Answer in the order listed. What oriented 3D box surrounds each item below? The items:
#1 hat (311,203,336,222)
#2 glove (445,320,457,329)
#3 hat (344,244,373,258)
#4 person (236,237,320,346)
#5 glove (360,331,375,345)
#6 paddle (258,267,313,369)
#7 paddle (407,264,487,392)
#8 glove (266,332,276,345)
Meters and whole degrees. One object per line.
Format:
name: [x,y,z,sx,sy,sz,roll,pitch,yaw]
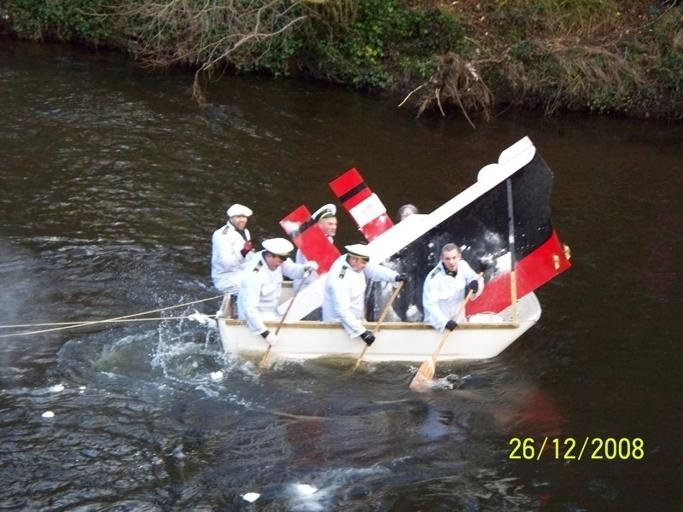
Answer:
hat: [-0.407,-0.971,20.635,0.184,0.491,0.449,61,11,12]
glove: [2.197,1.412,19.500,0.255,0.236,0.111,3,27,-11]
hat: [0.310,-0.093,19.317,0.412,0.126,0.348,8,6,22]
person: [-1.585,0.715,19.564,0.926,2.022,1.093,7,26,-6]
glove: [0.538,1.631,19.445,0.272,0.293,0.125,5,39,-13]
paddle: [-1.140,1.326,19.796,0.311,0.361,2.388,25,64,19]
paddle: [2.113,1.529,19.793,0.379,3.241,0.156,41,-21,-12]
glove: [-1.378,1.661,19.531,0.187,0.249,0.148,-16,36,-41]
